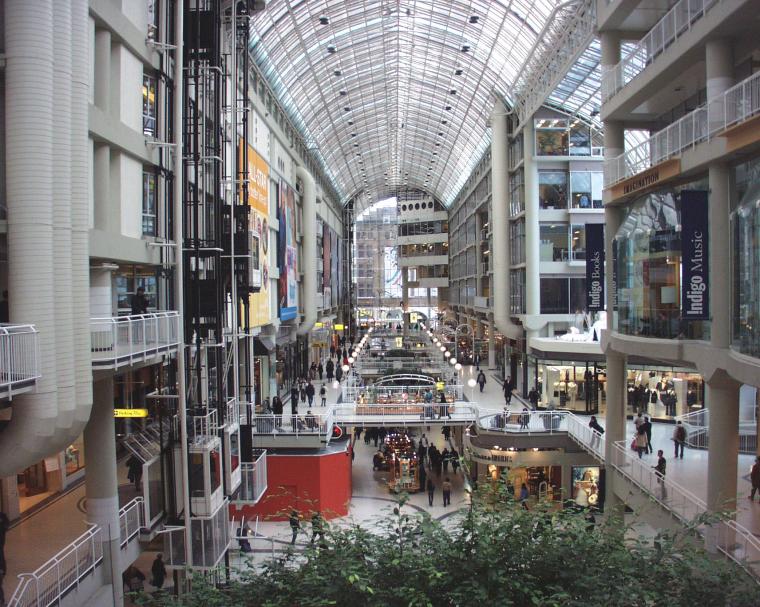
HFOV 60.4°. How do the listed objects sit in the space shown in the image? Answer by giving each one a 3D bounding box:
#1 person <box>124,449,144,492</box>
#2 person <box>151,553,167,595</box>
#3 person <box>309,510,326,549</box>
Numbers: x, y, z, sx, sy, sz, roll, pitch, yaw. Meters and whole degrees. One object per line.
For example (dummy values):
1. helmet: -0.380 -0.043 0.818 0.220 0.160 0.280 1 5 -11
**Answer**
1. person: -7.430 5.147 19.822 0.225 1.076 1.371 0 -3 -30
2. person: -6.290 7.802 18.631 0.370 1.085 1.159 0 -3 -19
3. person: -1.031 3.874 10.915 0.239 0.493 1.106 -1 -3 -6
